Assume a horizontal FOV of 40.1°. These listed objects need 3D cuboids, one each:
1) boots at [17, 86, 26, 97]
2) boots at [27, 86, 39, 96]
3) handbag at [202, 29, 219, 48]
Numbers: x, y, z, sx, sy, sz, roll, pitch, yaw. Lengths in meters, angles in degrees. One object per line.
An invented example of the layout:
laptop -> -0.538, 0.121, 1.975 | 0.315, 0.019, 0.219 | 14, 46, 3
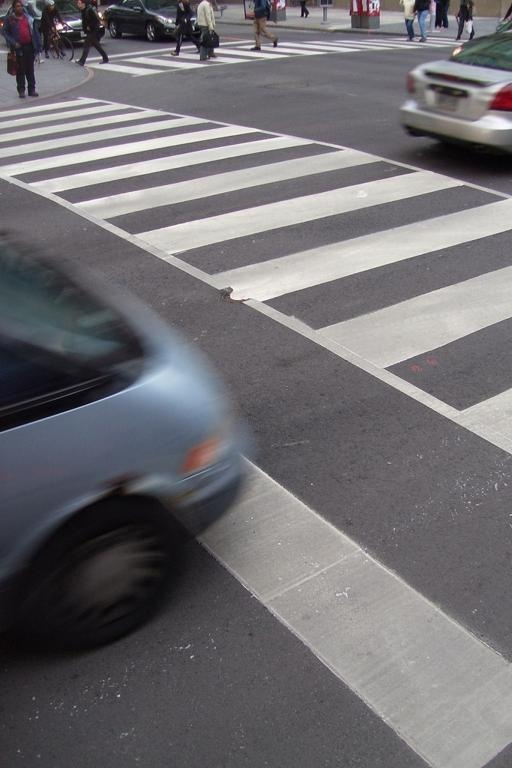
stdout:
boots -> -6.070, -7.634, 18.228 | 0.162, 0.221, 0.509 | -14, 49, -26
boots -> -5.818, -7.683, 18.420 | 0.145, 0.278, 0.419 | -21, 43, -29
handbag -> -1.450, -10.592, 21.531 | 0.491, 0.389, 0.557 | -3, 21, -4
